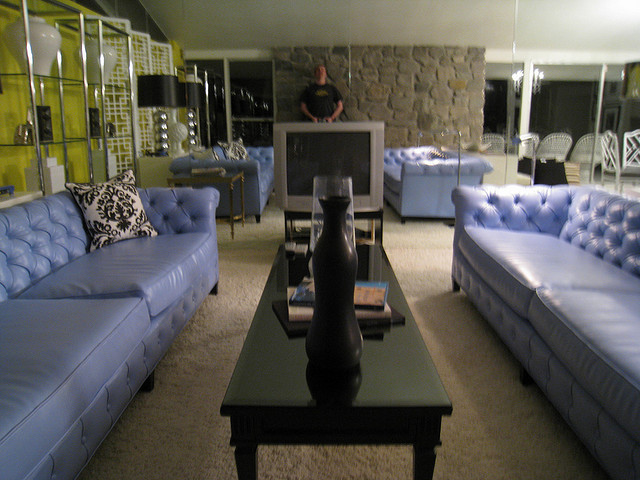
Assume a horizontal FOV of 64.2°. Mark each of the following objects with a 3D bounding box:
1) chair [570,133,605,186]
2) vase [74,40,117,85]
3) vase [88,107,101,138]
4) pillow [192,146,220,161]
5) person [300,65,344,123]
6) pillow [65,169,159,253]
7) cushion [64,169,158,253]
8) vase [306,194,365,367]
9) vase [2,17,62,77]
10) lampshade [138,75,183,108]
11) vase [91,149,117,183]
[{"bbox_3d":[2.263,-0.679,4.376,0.268,0.458,0.288,-10,-5,27],"label":"chair"},{"bbox_3d":[-2.515,-2.022,5.721,0.445,0.517,0.453,10,16,38],"label":"vase"},{"bbox_3d":[-2.435,-1.273,5.513,0.109,0.313,0.250,-7,16,-23],"label":"vase"},{"bbox_3d":[-1.205,-0.923,5.501,0.161,0.092,0.185,11,25,-2],"label":"pillow"},{"bbox_3d":[0.031,-2.252,7.791,0.585,0.816,0.674,-8,17,-28],"label":"person"},{"bbox_3d":[-1.287,-0.174,3.269,0.452,0.463,0.247,-17,5,-41],"label":"pillow"},{"bbox_3d":[-1.304,-0.178,3.262,0.248,0.465,0.463,-4,10,46],"label":"cushion"},{"bbox_3d":[0.050,0.162,1.843,0.206,0.619,0.090,-1,14,-3],"label":"vase"},{"bbox_3d":[-2.373,-1.609,4.212,0.236,0.469,0.467,5,16,20],"label":"vase"},{"bbox_3d":[-1.716,-1.602,5.500,0.347,0.294,0.354,5,14,44],"label":"lampshade"},{"bbox_3d":[-2.525,-0.852,5.938,0.216,0.381,0.243,-2,6,10],"label":"vase"}]
